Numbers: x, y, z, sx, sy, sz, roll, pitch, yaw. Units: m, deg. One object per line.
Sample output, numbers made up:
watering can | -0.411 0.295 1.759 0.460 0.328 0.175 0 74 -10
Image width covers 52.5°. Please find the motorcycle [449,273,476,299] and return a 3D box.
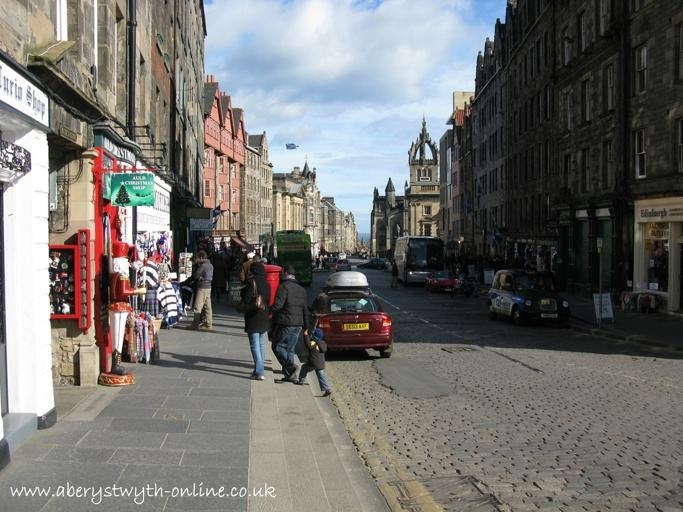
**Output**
motorcycle | 7.042 1.745 40.328 0.915 1.253 2.038 0 0 -3

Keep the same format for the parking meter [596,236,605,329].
parking meter | 8.558 0.832 22.914 0.107 2.812 0.528 1 -4 -12

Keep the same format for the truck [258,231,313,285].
truck | -3.764 -0.102 51.434 2.374 3.549 6.742 0 -4 -4

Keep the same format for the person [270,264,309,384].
person | -0.993 1.292 13.148 0.677 2.200 0.690 0 -1 -5

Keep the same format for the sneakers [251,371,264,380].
sneakers | -1.606 2.244 13.090 0.278 0.165 0.290 0 -2 8

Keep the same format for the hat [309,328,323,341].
hat | -0.451 1.387 12.337 0.178 0.198 0.719 0 -2 -6

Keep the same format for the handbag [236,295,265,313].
handbag | -1.688 0.873 13.131 0.493 0.380 0.268 0 -2 -8

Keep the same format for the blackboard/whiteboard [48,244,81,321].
blackboard/whiteboard | -4.577 0.430 11.467 0.206 1.035 0.946 1 -1 -4

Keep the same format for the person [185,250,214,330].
person | -3.887 0.958 19.172 0.533 2.229 1.275 0 -2 -13

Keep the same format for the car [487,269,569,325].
car | 6.498 1.435 24.804 1.271 1.380 2.964 1 -4 -9
